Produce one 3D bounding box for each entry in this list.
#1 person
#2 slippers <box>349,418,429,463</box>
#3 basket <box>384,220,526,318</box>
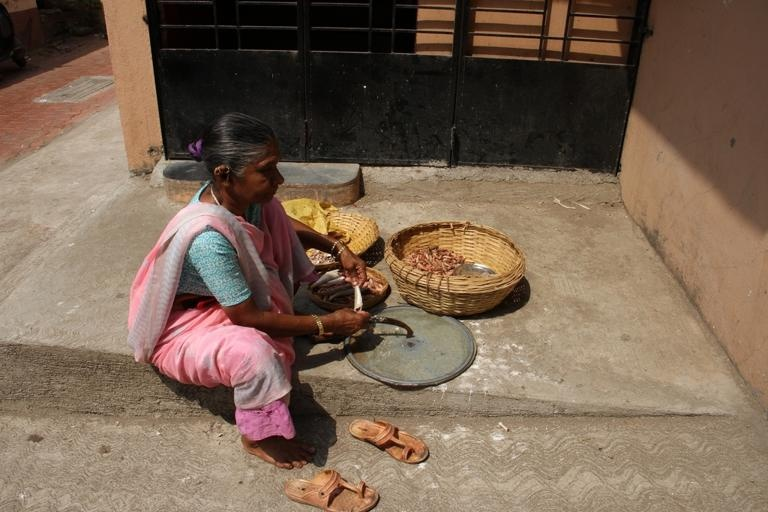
[{"bbox_3d":[-0.829,0.236,3.571,1.287,2.112,1.018,-21,34,-34],"label":"person"},{"bbox_3d":[0.010,1.188,3.779,0.550,0.119,0.193,15,40,27],"label":"slippers"},{"bbox_3d":[0.598,0.155,4.866,1.476,0.726,0.642,7,30,8],"label":"basket"}]
